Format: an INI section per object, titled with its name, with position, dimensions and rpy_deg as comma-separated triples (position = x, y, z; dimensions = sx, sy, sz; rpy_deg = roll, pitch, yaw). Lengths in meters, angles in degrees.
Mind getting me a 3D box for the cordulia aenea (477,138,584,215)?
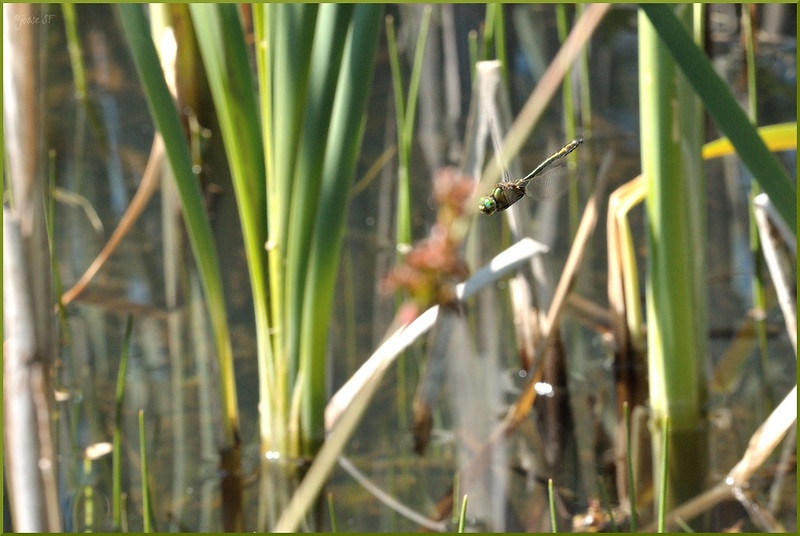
[cordulia aenea]
position = 0.215, -0.105, 1.753
dimensions = 0.142, 0.057, 0.131
rpy_deg = -43, 10, -9
